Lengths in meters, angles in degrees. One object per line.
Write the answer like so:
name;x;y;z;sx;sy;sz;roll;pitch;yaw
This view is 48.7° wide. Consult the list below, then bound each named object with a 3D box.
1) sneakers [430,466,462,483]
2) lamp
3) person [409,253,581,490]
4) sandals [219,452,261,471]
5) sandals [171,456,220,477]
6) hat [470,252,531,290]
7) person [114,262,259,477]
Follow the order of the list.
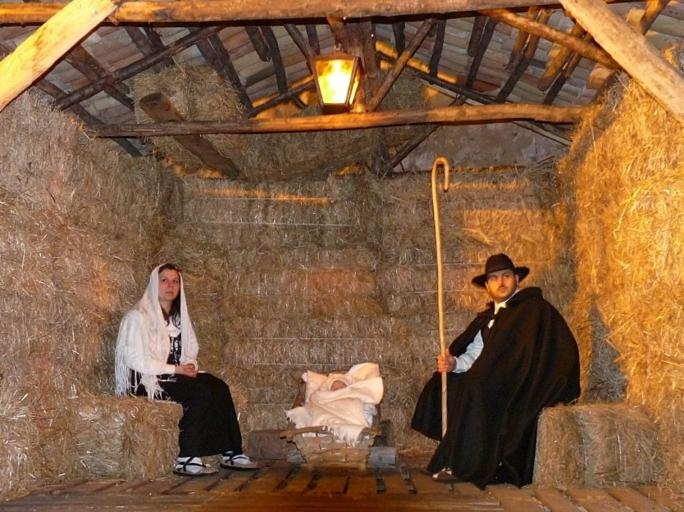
sneakers;0.880;1.870;6.420;0.248;0.089;0.089;-2;-3;20
lamp;-0.052;-1.635;7.011;0.435;0.493;0.472;-1;-13;9
person;1.434;1.121;7.002;0.973;1.653;1.193;19;-38;-6
sandals;-0.952;1.922;7.066;0.302;0.104;0.166;2;-2;9
sandals;-1.331;1.883;6.754;0.298;0.134;0.176;1;-4;-2
hat;1.563;0.131;7.630;0.405;0.180;0.469;-16;-22;6
person;-1.530;1.045;7.205;1.104;1.996;0.715;-5;-13;24
